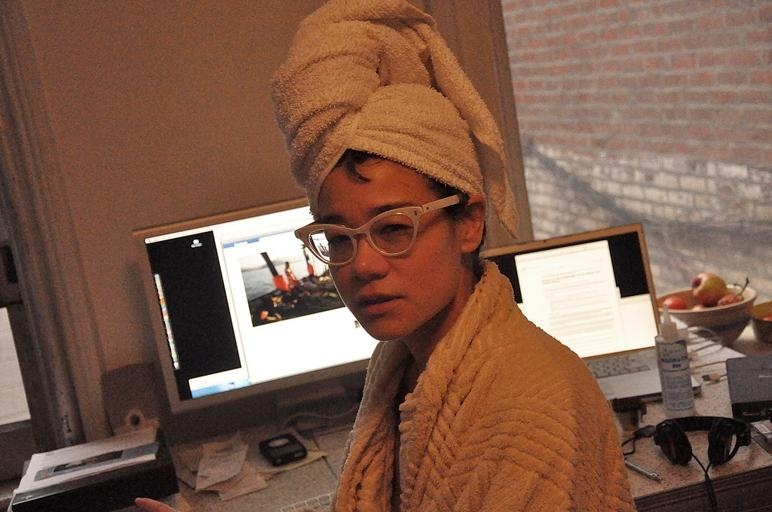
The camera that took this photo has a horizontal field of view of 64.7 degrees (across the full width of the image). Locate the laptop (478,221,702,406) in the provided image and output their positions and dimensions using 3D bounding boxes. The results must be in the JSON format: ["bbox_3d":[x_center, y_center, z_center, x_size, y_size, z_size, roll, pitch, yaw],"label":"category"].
[{"bbox_3d":[0.661,0.142,2.048,0.708,0.422,0.570,-11,12,-1],"label":"laptop"}]

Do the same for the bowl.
[{"bbox_3d":[1.345,0.250,2.619,0.347,0.190,0.338,-9,2,0],"label":"bowl"}]
